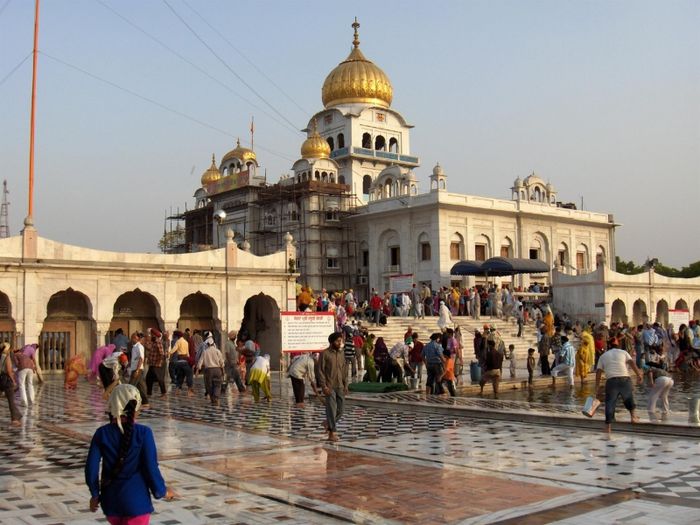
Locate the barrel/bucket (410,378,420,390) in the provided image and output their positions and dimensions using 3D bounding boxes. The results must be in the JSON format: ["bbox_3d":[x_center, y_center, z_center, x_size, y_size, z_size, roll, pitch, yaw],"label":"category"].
[{"bbox_3d":[1.656,3.028,20.495,0.189,0.168,0.231,0,-11,-2],"label":"barrel/bucket"}]
